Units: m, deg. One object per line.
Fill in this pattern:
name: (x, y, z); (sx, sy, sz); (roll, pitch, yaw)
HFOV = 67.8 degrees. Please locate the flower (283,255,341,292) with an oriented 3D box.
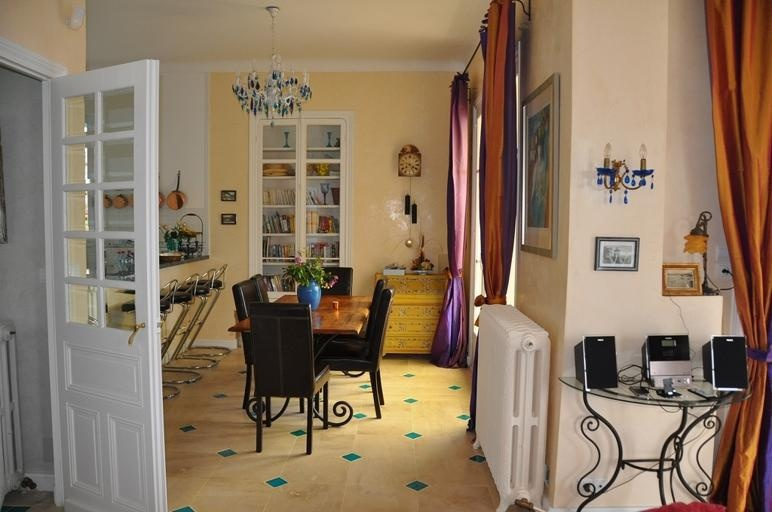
flower: (-0.769, 0.138, 5.830); (0.315, 0.226, 0.373); (-5, 45, -10)

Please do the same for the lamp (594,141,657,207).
lamp: (1.693, -0.603, 4.072); (0.437, 0.441, 0.260); (1, -3, -11)

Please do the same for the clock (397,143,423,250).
clock: (0.324, -0.808, 7.805); (0.348, 1.367, 0.261); (0, 12, 0)

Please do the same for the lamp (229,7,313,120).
lamp: (-1.295, -2.189, 6.766); (0.923, 1.125, 2.618); (-2, 11, -11)

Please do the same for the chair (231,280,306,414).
chair: (-1.125, 0.903, 6.043); (0.840, 1.288, 0.818); (-1, 10, -9)

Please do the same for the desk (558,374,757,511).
desk: (1.849, 1.325, 4.064); (1.138, 0.867, 1.043); (0, -6, 4)

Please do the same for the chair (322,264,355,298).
chair: (-0.524, 0.286, 6.919); (0.323, 0.571, 0.329); (1, -4, 6)

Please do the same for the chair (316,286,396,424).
chair: (-0.402, 0.901, 5.852); (0.919, 1.217, 0.933); (8, 14, 22)

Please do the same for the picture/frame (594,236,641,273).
picture/frame: (1.644, -0.024, 4.114); (0.259, 0.218, 0.021); (0, 3, -3)

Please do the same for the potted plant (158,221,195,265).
potted plant: (-2.783, -0.285, 7.500); (0.460, 0.756, 0.462); (-2, -7, -3)

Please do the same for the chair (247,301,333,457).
chair: (-0.844, 1.023, 5.041); (0.606, 1.364, 0.520); (0, 12, 0)

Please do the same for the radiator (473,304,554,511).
radiator: (0.991, 1.182, 4.362); (0.486, 1.463, 1.448); (0, 3, -1)

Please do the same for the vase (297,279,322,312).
vase: (-0.741, 0.394, 5.804); (0.284, 0.352, 0.290); (2, -4, -24)

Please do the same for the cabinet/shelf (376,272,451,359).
cabinet/shelf: (0.361, 0.733, 7.118); (1.067, 1.306, 0.499); (1, 2, -1)

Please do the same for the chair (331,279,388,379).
chair: (-0.284, 0.760, 5.742); (0.568, 0.948, 0.574); (3, 16, -4)

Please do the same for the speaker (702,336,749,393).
speaker: (2.325, 0.729, 3.956); (0.217, 0.366, 0.253); (12, -14, -39)

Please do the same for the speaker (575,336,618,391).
speaker: (1.542, 0.750, 3.990); (0.262, 0.357, 0.277); (8, -16, -16)

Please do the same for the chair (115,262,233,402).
chair: (-2.075, 0.765, 5.680); (0.540, 0.955, 1.401); (2, 3, 3)

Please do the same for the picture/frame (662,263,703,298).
picture/frame: (2.148, 0.187, 4.192); (0.251, 0.217, 0.026); (0, -8, -2)
